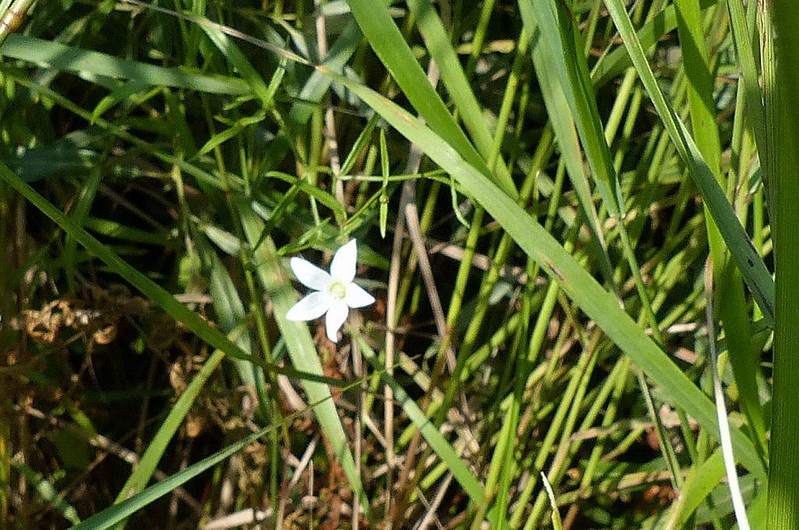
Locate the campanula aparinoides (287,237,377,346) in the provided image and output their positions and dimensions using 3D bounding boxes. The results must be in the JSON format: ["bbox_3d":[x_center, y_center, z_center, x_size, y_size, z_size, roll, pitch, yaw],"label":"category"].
[{"bbox_3d":[-0.095,0.038,1.222,0.126,0.122,0.107,5,35,11],"label":"campanula aparinoides"}]
